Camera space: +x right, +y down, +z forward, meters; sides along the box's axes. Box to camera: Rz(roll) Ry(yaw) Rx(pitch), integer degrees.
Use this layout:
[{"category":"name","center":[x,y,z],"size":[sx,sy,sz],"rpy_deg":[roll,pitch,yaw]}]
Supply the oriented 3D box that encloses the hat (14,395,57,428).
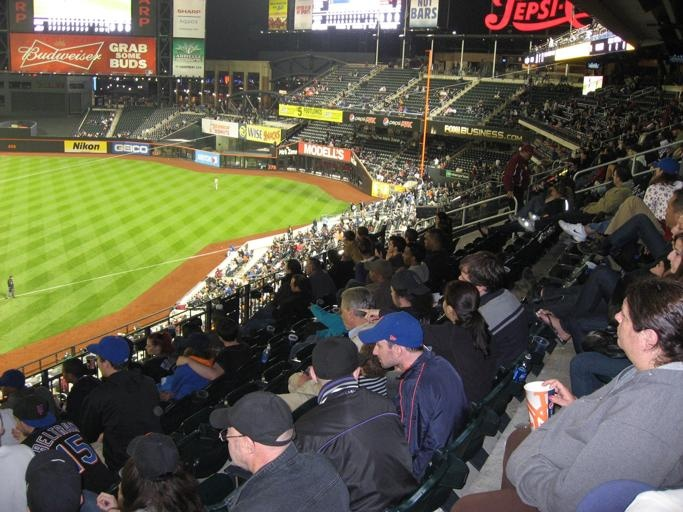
[{"category":"hat","center":[-2.370,1.186,4.094],"size":[0.298,0.153,0.217],"rpy_deg":[22,18,27]}]

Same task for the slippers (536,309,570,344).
[{"category":"slippers","center":[2.068,0.672,5.156],"size":[0.166,0.456,0.107],"rpy_deg":[-37,-28,21]}]

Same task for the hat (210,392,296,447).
[{"category":"hat","center":[-0.504,0.938,3.052],"size":[0.375,0.212,0.252],"rpy_deg":[23,25,12]}]

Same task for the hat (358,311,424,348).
[{"category":"hat","center":[0.362,0.585,3.889],"size":[0.363,0.213,0.249],"rpy_deg":[11,10,14]}]

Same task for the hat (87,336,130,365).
[{"category":"hat","center":[-2.251,0.902,5.152],"size":[0.361,0.217,0.262],"rpy_deg":[25,18,7]}]

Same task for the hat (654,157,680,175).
[{"category":"hat","center":[4.299,-1.176,6.978],"size":[0.239,0.227,0.241],"rpy_deg":[-1,7,27]}]
